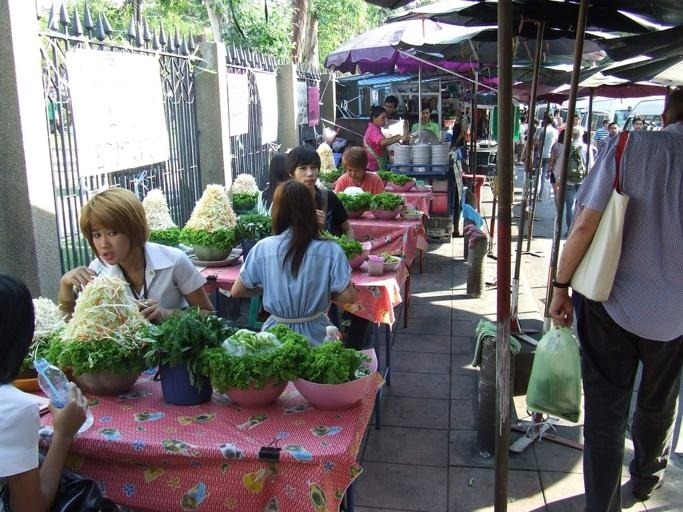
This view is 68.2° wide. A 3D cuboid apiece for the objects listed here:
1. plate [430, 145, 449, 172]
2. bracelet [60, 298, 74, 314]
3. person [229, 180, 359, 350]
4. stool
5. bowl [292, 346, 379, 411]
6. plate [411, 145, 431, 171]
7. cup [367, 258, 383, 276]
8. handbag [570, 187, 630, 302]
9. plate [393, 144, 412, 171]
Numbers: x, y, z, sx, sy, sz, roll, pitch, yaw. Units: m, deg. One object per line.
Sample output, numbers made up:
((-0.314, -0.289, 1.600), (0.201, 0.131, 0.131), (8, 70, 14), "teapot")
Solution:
((1.683, -1.761, 9.158), (0.413, 0.487, 0.430), (-1, 4, -7), "plate")
((-1.670, 0.306, 3.077), (0.071, 0.083, 0.075), (18, 18, -1), "bracelet")
((-0.341, 0.387, 3.681), (0.816, 1.846, 0.644), (0, 18, -2), "person")
((1.344, 0.934, 4.115), (0.861, 0.993, 0.867), (-1, 11, 3), "stool")
((-0.055, 0.623, 2.444), (0.240, 0.123, 0.315), (11, 12, 17), "bowl")
((1.432, -1.767, 9.182), (0.400, 0.478, 0.400), (-1, 4, 2), "plate")
((0.281, 0.086, 4.144), (0.123, 0.155, 0.130), (0, 5, 0), "cup")
((1.397, -0.060, 2.724), (0.241, 0.581, 0.147), (2, 16, 16), "handbag")
((1.113, -1.790, 9.174), (0.399, 0.469, 0.415), (-1, 5, -4), "plate")
